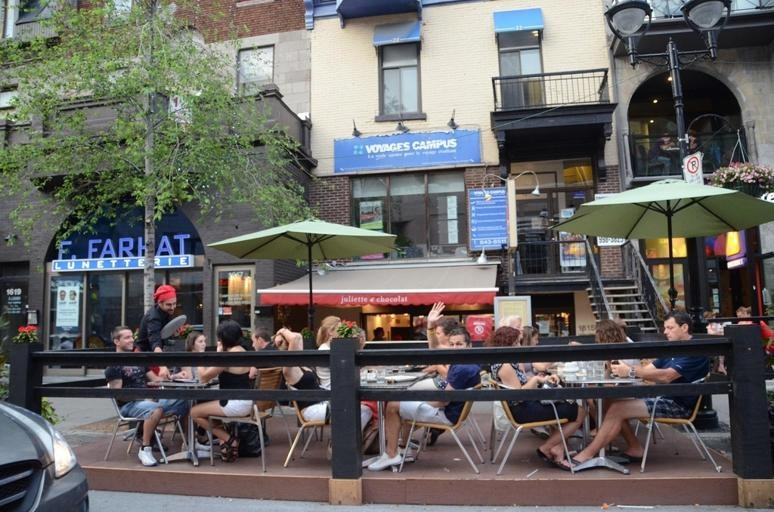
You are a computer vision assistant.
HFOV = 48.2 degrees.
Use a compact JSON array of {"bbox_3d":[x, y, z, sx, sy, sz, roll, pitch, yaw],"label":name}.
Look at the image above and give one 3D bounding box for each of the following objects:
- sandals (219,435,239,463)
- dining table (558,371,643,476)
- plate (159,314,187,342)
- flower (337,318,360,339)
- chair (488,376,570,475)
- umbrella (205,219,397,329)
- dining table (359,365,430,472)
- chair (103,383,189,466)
[{"bbox_3d":[-2.793,3.422,15.330,0.249,0.450,0.122,21,11,22],"label":"sandals"},{"bbox_3d":[3.566,2.807,15.414,1.747,1.654,1.369,4,-8,-18],"label":"dining table"},{"bbox_3d":[-4.395,1.486,17.719,0.629,0.109,0.627,-36,-21,-9],"label":"plate"},{"bbox_3d":[-0.723,1.303,15.413,0.310,0.216,0.300,4,-7,-23],"label":"flower"},{"bbox_3d":[2.771,3.030,15.310,1.044,1.715,2.662,-3,0,2],"label":"chair"},{"bbox_3d":[-1.836,-0.304,18.467,2.852,1.817,2.941,-6,-7,17],"label":"umbrella"},{"bbox_3d":[0.152,3.247,15.692,1.632,1.736,0.936,-1,-13,5],"label":"dining table"},{"bbox_3d":[-4.331,2.991,15.708,0.890,1.965,0.799,-1,-2,25],"label":"chair"}]
